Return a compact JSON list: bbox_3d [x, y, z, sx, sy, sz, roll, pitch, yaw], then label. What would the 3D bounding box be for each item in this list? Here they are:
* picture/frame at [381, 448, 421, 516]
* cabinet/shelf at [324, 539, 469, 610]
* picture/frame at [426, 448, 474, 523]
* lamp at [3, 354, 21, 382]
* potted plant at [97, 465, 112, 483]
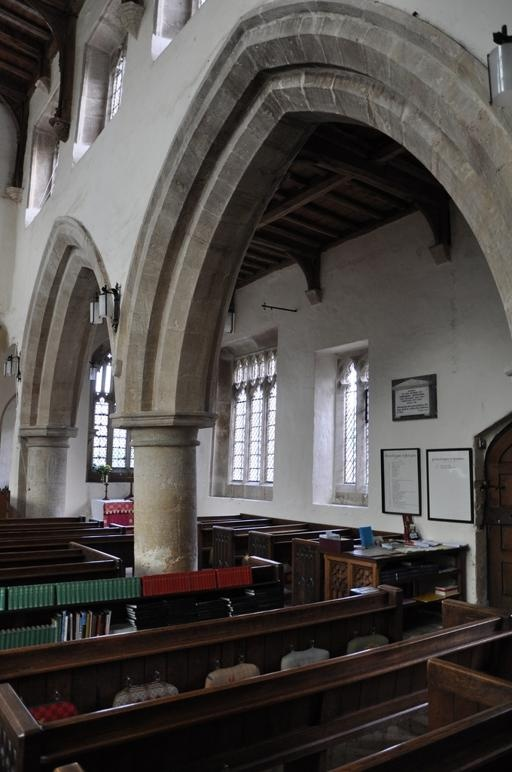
[{"bbox_3d":[1.675,1.099,7.134,0.029,0.873,0.679,6,-11,-28],"label":"picture/frame"},{"bbox_3d":[1.324,1.812,6.009,1.342,0.509,0.795,6,-12,-37],"label":"cabinet/shelf"},{"bbox_3d":[2.025,1.042,6.453,0.034,0.893,0.635,12,-19,-27],"label":"picture/frame"},{"bbox_3d":[-3.524,-0.290,9.066,0.191,0.491,0.615,3,-10,-24],"label":"lamp"},{"bbox_3d":[-2.822,1.632,11.629,0.292,0.363,0.286,2,-10,-20],"label":"potted plant"}]
